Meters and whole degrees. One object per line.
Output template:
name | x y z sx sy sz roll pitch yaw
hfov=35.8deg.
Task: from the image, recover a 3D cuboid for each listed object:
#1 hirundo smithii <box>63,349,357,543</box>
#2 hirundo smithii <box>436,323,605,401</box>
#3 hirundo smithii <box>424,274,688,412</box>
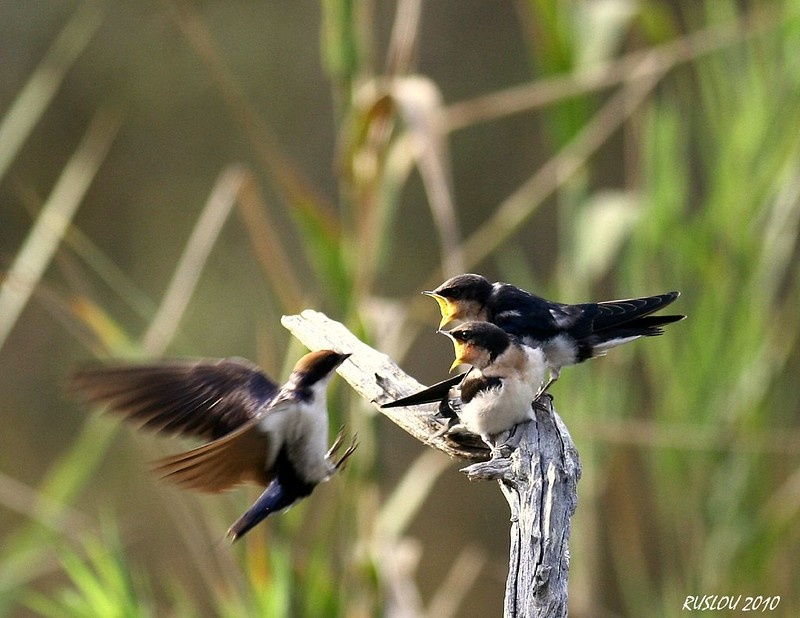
hirundo smithii | -0.442 0.319 3.431 0.560 0.690 0.449 -43 -77 13
hirundo smithii | 0.323 0.174 3.538 0.457 0.261 0.343 0 4 -12
hirundo smithii | 0.302 0.080 3.670 1.055 0.426 0.295 -3 -3 6
